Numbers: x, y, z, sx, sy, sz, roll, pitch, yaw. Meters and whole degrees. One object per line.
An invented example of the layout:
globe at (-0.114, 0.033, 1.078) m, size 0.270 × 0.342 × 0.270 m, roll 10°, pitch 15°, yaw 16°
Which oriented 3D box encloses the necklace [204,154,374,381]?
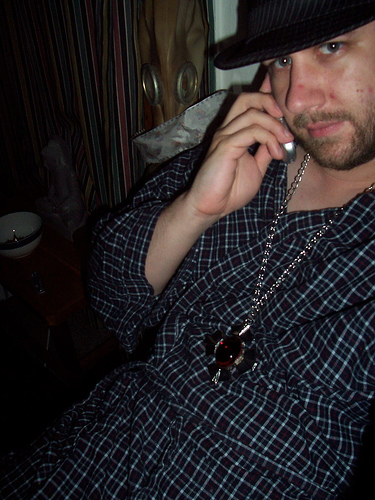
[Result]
necklace at (0.234, 0.022, 0.867) m, size 0.193 × 0.046 × 0.584 m, roll 33°, pitch 83°, yaw 24°

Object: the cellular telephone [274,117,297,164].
cellular telephone at (0.187, -0.208, 0.778) m, size 0.030 × 0.079 × 0.058 m, roll -28°, pitch 51°, yaw 12°
